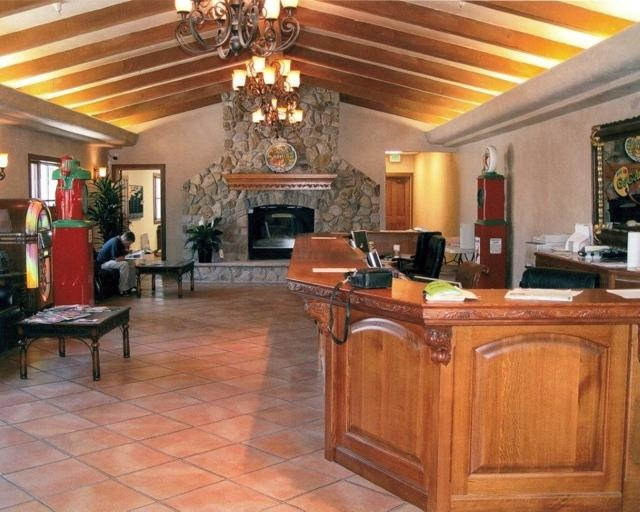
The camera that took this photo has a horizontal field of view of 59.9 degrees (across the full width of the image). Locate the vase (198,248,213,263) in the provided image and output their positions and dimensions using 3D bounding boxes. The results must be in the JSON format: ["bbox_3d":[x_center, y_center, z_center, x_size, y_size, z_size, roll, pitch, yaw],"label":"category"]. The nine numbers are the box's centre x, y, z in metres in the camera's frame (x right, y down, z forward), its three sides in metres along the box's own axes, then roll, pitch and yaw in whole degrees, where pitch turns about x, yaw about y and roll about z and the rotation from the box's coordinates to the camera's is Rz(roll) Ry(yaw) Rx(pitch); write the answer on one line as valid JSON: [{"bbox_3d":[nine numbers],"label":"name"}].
[{"bbox_3d":[-2.487,-0.017,11.938,0.367,0.295,0.320,0,2,-3],"label":"vase"}]

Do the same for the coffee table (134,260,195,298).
[{"bbox_3d":[-2.808,0.422,10.114,0.901,0.449,1.085,0,1,-3],"label":"coffee table"}]

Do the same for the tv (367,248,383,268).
[{"bbox_3d":[0.354,0.018,3.621,0.095,0.115,0.038,-6,-23,-4],"label":"tv"}]

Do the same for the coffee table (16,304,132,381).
[{"bbox_3d":[-2.499,0.848,5.593,0.862,0.616,0.805,1,4,1],"label":"coffee table"}]

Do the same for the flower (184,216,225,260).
[{"bbox_3d":[-2.494,-0.333,12.216,1.168,0.839,0.988,0,-1,-2],"label":"flower"}]

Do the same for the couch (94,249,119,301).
[{"bbox_3d":[-3.631,0.404,9.416,0.265,0.661,1.061,1,4,-9],"label":"couch"}]

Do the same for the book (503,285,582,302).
[{"bbox_3d":[1.293,0.219,3.225,0.418,0.044,0.435,2,3,19],"label":"book"}]
